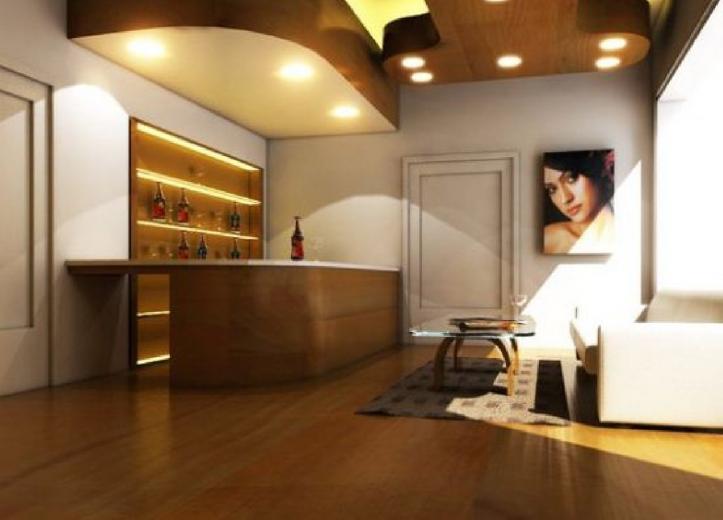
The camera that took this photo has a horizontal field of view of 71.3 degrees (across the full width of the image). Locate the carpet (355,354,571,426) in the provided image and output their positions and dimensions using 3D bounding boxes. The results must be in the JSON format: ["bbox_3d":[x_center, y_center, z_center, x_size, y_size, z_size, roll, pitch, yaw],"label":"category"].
[{"bbox_3d":[0.913,1.032,4.109,1.395,0.121,1.896,0,-4,17],"label":"carpet"}]
